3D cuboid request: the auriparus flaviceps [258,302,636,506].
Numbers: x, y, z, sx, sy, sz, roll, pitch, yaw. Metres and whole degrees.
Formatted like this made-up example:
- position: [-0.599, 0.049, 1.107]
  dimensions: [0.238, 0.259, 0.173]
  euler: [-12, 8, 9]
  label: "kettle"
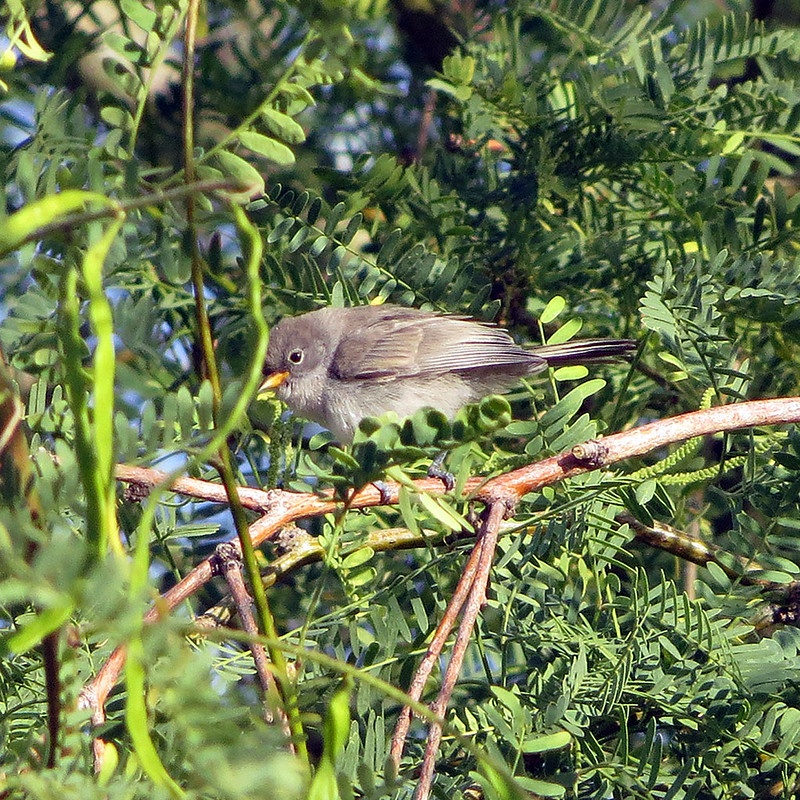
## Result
- position: [0.156, -0.085, 4.310]
  dimensions: [1.672, 0.651, 0.479]
  euler: [-5, 13, 22]
  label: "auriparus flaviceps"
